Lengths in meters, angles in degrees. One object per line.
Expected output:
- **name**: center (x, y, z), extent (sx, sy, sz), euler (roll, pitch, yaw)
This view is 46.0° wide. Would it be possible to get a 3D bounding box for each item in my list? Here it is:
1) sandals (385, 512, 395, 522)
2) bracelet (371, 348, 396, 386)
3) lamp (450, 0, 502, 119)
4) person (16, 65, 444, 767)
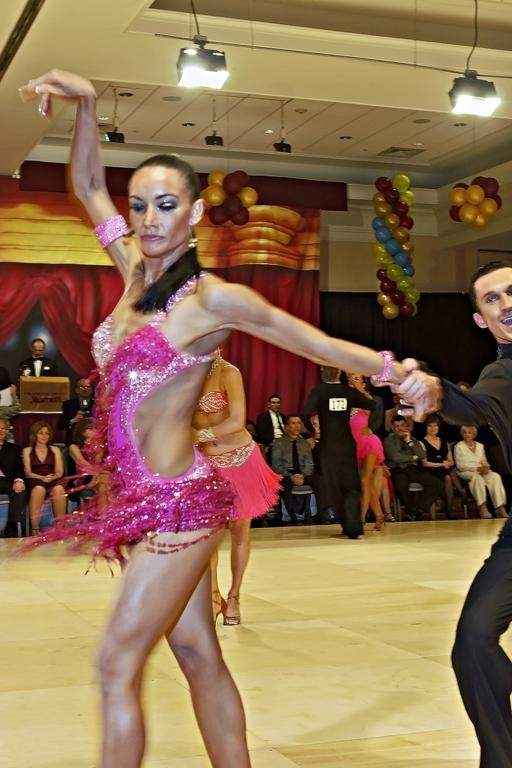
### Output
- **sandals**: center (2.235, 2.234, 10.019), extent (0.079, 0.139, 0.226), euler (0, -12, -6)
- **bracelet**: center (0.237, -0.031, 1.169), extent (0.032, 0.061, 0.053), euler (2, 1, -5)
- **lamp**: center (2.489, -3.795, 7.025), extent (0.508, 1.542, 0.929), euler (-5, -12, 21)
- **person**: center (-0.165, -0.013, 1.268), extent (0.748, 1.567, 0.461), euler (-11, -15, 43)
